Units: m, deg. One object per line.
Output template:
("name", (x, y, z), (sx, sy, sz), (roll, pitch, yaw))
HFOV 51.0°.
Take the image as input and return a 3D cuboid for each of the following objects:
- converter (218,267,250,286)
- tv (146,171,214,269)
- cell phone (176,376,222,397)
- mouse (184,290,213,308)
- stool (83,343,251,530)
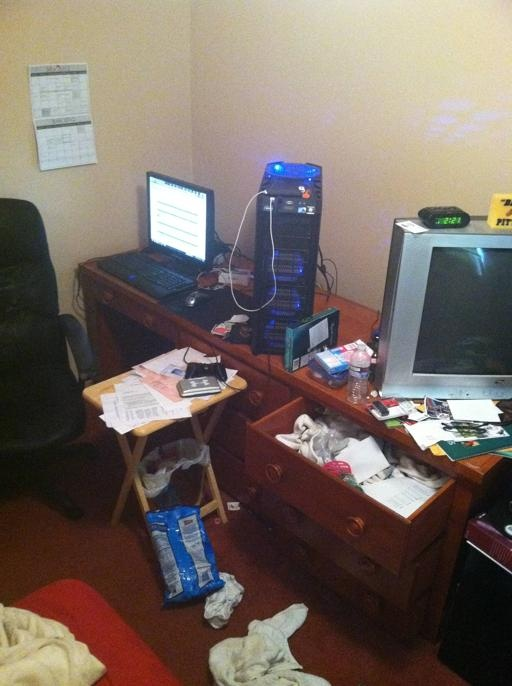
("converter", (-0.090, -0.281, 2.253), (0.099, 0.033, 0.076), (6, 24, 9))
("tv", (-0.319, -0.495, 2.219), (0.408, 0.307, 0.046), (28, 38, 36))
("cell phone", (-0.178, 0.137, 1.697), (0.097, 0.021, 0.066), (-7, 38, -16))
("mouse", (-0.225, -0.181, 2.031), (0.050, 0.031, 0.105), (22, 37, 23))
("stool", (-0.297, 0.358, 1.900), (0.439, 0.525, 0.349), (-24, 41, -35))
